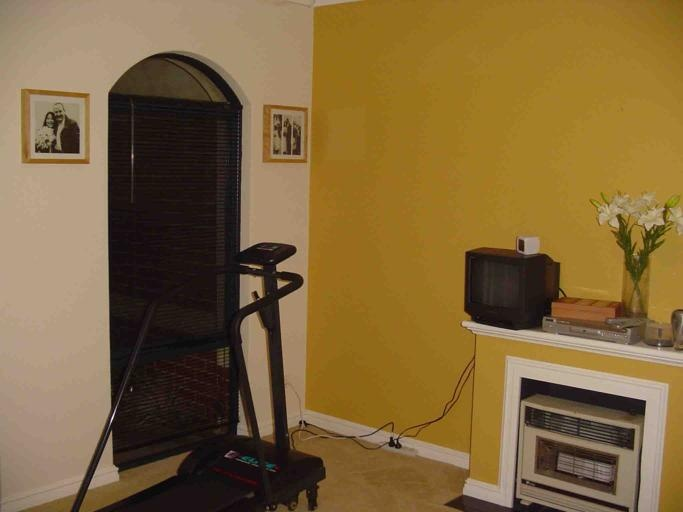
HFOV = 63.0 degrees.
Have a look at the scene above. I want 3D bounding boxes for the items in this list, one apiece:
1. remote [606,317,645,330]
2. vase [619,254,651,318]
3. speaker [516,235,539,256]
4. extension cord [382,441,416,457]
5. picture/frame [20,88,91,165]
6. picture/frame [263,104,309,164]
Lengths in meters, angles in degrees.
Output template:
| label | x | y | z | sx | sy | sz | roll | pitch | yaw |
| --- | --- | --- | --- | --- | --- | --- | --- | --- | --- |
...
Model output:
| label | x | y | z | sx | sy | sz | roll | pitch | yaw |
| --- | --- | --- | --- | --- | --- | --- | --- | --- | --- |
| remote | 1.737 | 0.403 | 3.375 | 0.148 | 0.040 | 0.097 | -1 | 1 | 5 |
| vase | 1.815 | 0.209 | 3.436 | 0.150 | 0.329 | 0.107 | 6 | 9 | 26 |
| speaker | 1.232 | -0.067 | 3.703 | 0.117 | 0.124 | 0.117 | 1 | 2 | -22 |
| extension cord | 0.484 | 1.544 | 4.477 | 0.170 | 0.043 | 0.103 | 0 | 0 | 30 |
| picture/frame | -1.824 | -0.829 | 3.523 | 0.436 | 0.535 | 0.033 | -10 | 16 | -42 |
| picture/frame | -0.481 | -1.028 | 4.665 | 0.474 | 0.515 | 0.035 | -7 | 11 | -43 |
